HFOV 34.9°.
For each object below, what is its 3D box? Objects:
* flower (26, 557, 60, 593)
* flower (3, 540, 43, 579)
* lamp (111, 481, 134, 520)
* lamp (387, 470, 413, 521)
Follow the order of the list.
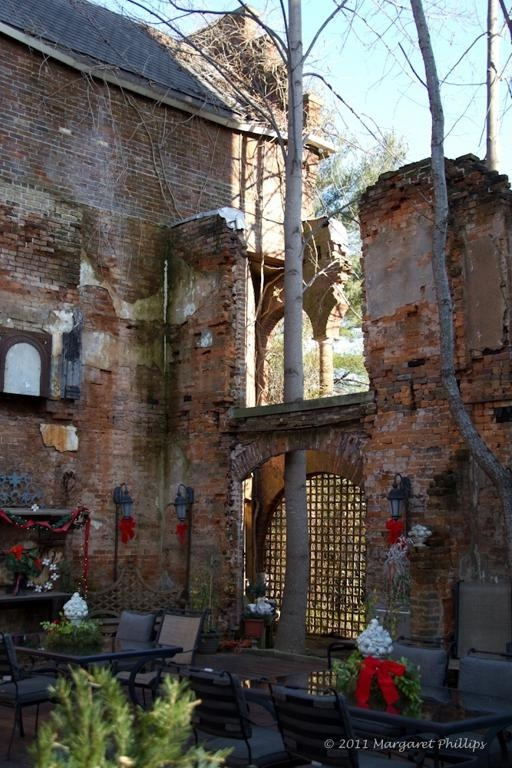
[{"bbox_3d":[-2.652,2.373,10.147,0.433,0.470,0.090,21,-41,-40],"label":"flower"},{"bbox_3d":[-2.804,2.178,9.972,0.218,0.397,0.452,-2,-8,22],"label":"flower"},{"bbox_3d":[-1.807,1.608,11.254,0.289,0.475,0.700,2,-7,-9],"label":"lamp"},{"bbox_3d":[1.453,1.140,8.237,0.223,0.478,0.519,-1,-7,11],"label":"lamp"}]
